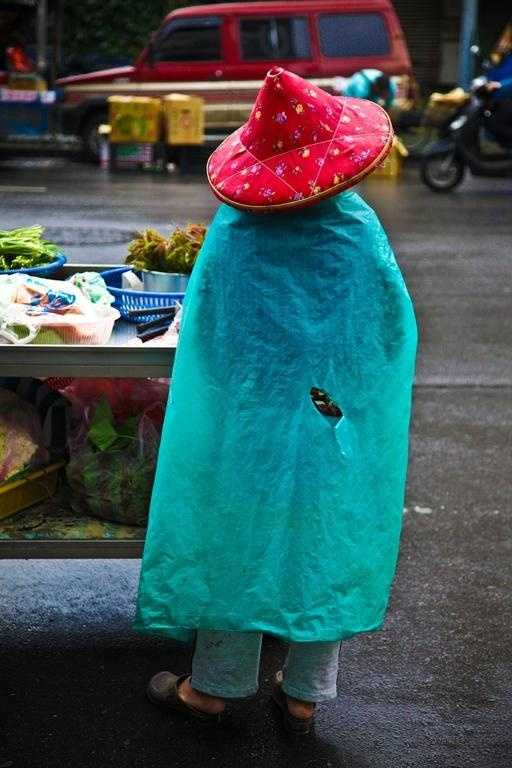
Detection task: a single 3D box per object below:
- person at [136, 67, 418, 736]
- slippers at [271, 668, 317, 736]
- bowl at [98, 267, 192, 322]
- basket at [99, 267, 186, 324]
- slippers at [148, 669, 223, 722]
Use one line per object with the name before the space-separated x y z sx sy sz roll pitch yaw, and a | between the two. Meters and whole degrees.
person | 0.030 0.154 1.752 0.635 1.634 0.500 -2 27 -8
slippers | 0.097 0.824 2.000 0.072 0.067 0.180 -4 24 -9
bowl | -0.356 -0.263 2.343 0.307 0.097 0.241 -2 15 -9
basket | -0.360 -0.264 2.345 0.304 0.098 0.239 -2 12 -15
slippers | -0.194 0.806 2.033 0.197 0.069 0.099 22 13 31
